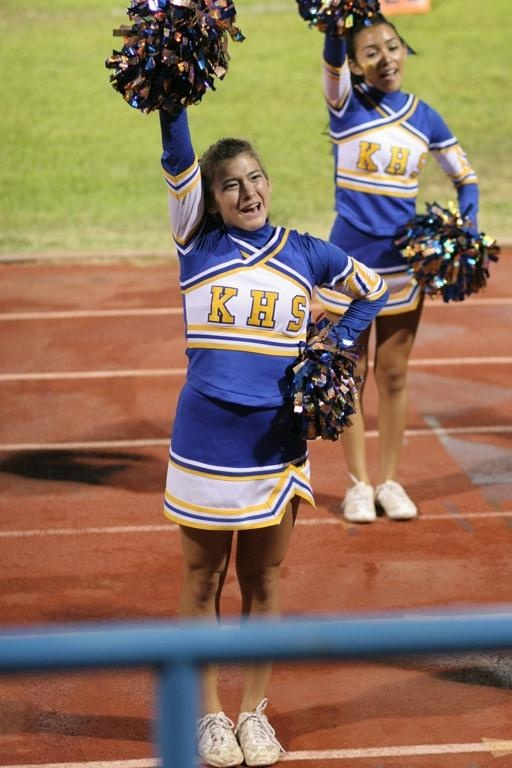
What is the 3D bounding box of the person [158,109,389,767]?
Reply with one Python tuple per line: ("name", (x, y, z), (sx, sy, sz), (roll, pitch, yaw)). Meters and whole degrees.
("person", (0.001, 0.212, 2.294), (0.599, 1.792, 1.053), (5, 34, 7))
